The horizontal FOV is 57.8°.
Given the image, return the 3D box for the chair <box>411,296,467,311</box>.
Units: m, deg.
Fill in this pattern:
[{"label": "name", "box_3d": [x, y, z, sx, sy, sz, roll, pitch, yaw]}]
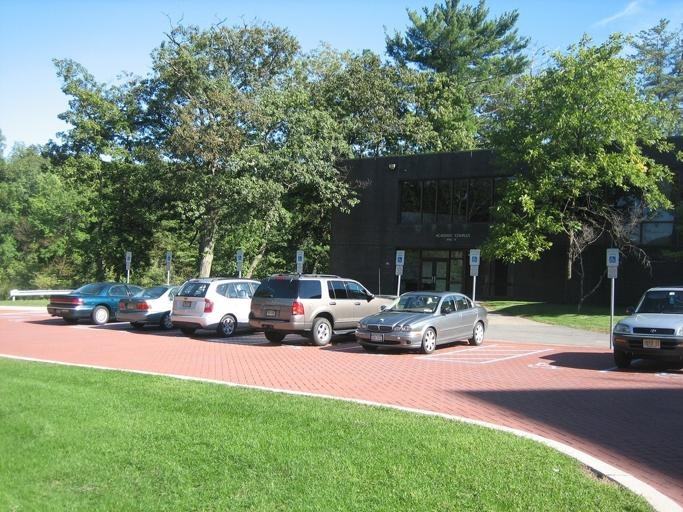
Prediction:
[{"label": "chair", "box_3d": [2.859, 1.437, 18.422, 1.202, 0.592, 0.726, 8, -9, -38]}]
